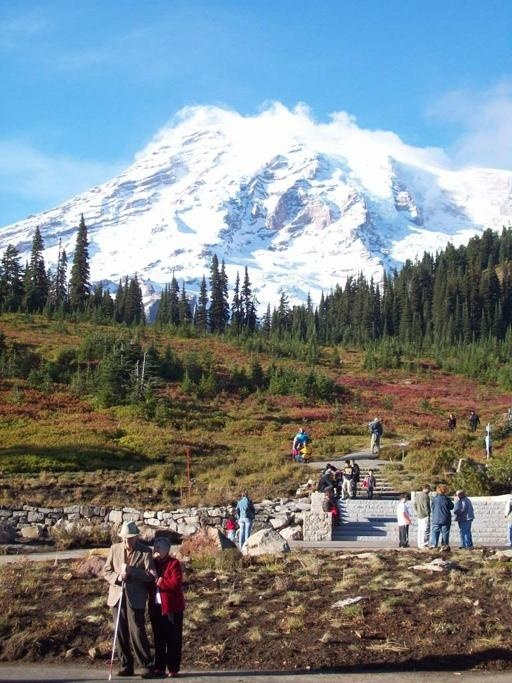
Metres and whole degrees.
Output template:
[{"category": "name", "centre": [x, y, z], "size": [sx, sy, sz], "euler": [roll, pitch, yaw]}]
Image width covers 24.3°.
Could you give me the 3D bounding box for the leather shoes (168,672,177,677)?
[{"category": "leather shoes", "centre": [-1.445, 5.802, 20.730], "size": [0.140, 0.097, 0.044], "euler": [0, -2, 0]}]

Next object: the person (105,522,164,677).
[{"category": "person", "centre": [-2.189, 4.507, 20.769], "size": [0.842, 2.733, 0.464], "euler": [0, -2, -9]}]

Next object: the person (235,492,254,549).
[{"category": "person", "centre": [-0.251, 4.335, 29.071], "size": [0.378, 1.322, 0.676], "euler": [0, -2, -1]}]

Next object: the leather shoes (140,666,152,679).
[{"category": "leather shoes", "centre": [-1.897, 5.752, 20.675], "size": [0.161, 0.198, 0.168], "euler": [6, -4, -27]}]

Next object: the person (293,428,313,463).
[{"category": "person", "centre": [1.623, 3.600, 41.738], "size": [0.595, 1.218, 1.671], "euler": [0, -2, 3]}]
